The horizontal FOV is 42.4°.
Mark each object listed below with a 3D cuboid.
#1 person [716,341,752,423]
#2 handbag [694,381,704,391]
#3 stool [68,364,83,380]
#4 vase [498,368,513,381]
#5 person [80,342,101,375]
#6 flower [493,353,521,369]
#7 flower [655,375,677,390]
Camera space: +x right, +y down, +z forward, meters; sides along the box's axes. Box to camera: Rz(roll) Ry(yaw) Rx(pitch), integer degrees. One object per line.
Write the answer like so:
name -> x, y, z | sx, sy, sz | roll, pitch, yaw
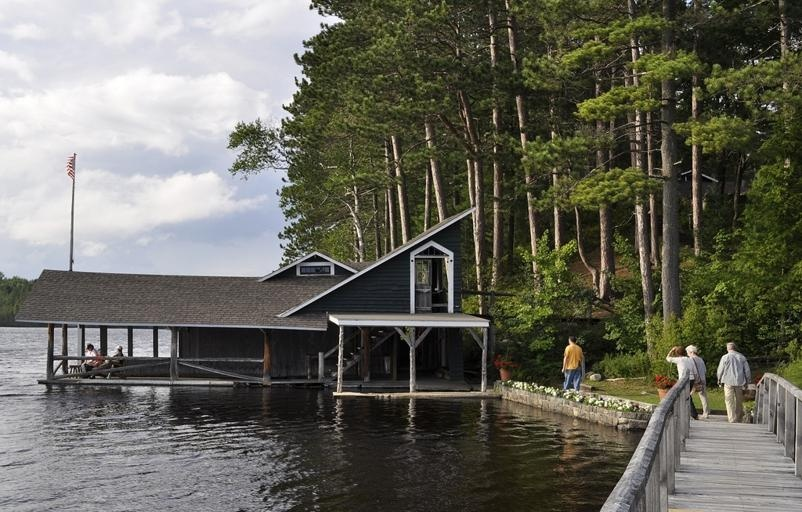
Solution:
person -> 13.243, 5.093, 41.303 | 0.993, 3.194, 1.305 | 4, 9, 40
handbag -> 12.375, 5.390, 43.098 | 0.446, 0.457, 0.208 | -3, -1, -6
stool -> -18.407, 6.595, 58.769 | 0.870, 0.856, 0.875 | -7, -6, 29
vase -> 5.692, 6.367, 55.996 | 0.713, 0.644, 0.681 | 0, -3, 5
person -> -17.453, 5.702, 58.535 | 1.030, 1.345, 3.011 | -4, 7, -18
flower -> 5.663, 5.738, 56.322 | 0.966, 0.640, 0.968 | 3, -3, -2
flower -> 12.022, 5.751, 47.089 | 0.963, 0.619, 0.942 | 2, 0, 16
